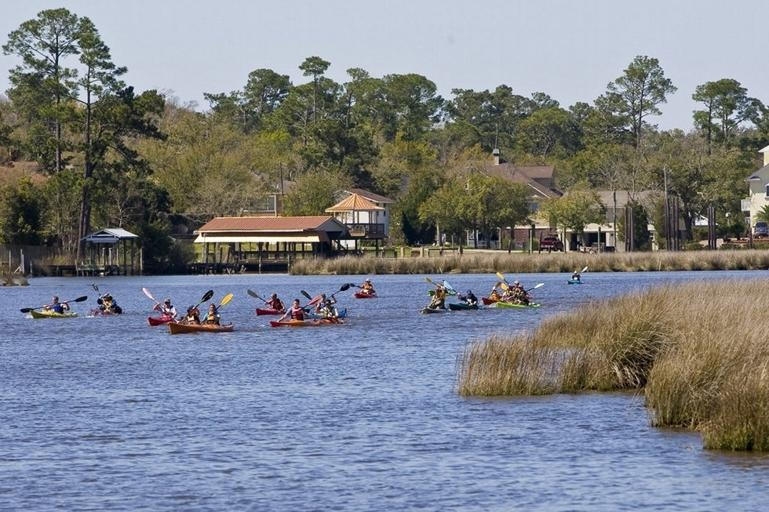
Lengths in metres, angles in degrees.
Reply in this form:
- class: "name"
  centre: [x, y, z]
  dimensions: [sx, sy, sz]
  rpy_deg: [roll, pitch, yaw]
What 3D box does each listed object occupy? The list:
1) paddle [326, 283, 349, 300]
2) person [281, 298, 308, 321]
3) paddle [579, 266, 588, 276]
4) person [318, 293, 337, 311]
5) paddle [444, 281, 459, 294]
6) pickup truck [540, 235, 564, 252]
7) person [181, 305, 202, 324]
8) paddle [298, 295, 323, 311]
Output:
- class: "paddle"
  centre: [-4.828, 3.410, 145.637]
  dimensions: [0.369, 0.565, 3.658]
  rpy_deg: [0, -20, -35]
- class: "person"
  centre: [-7.805, 4.589, 130.908]
  dimensions: [1.489, 2.332, 0.761]
  rpy_deg: [2, -2, -2]
- class: "paddle"
  centre: [19.391, 1.600, 163.631]
  dimensions: [0.505, 0.154, 3.142]
  rpy_deg: [28, 16, 6]
- class: "person"
  centre: [-5.157, 3.964, 131.191]
  dimensions: [1.127, 2.076, 0.656]
  rpy_deg: [2, -18, -19]
- class: "paddle"
  centre: [5.062, 2.951, 139.337]
  dimensions: [0.489, 1.353, 1.154]
  rpy_deg: [-30, -27, 16]
- class: "pickup truck"
  centre: [19.656, -1.363, 201.757]
  dimensions: [1.881, 1.755, 3.415]
  rpy_deg: [2, 2, 21]
- class: "person"
  centre: [-15.455, 4.644, 124.556]
  dimensions: [1.130, 0.760, 1.539]
  rpy_deg: [3, 9, -43]
- class: "paddle"
  centre: [-6.426, 4.256, 129.826]
  dimensions: [0.857, 0.376, 2.724]
  rpy_deg: [27, -36, -12]
